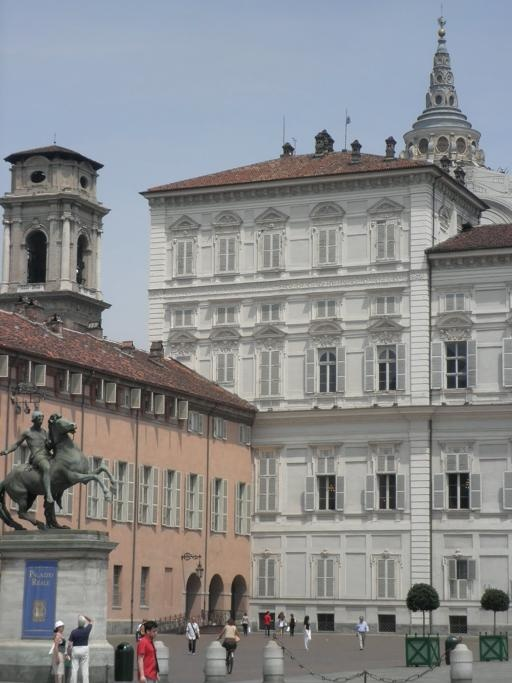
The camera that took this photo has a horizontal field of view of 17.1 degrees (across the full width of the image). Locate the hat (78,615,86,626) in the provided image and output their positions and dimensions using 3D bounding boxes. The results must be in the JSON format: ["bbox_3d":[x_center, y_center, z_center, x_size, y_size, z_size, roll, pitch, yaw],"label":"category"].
[{"bbox_3d":[-3.576,5.783,35.408,0.136,0.190,0.187,5,22,-2],"label":"hat"}]
